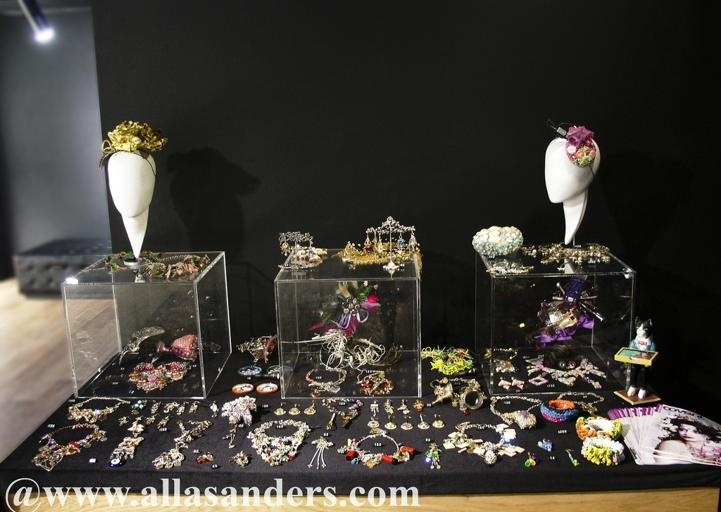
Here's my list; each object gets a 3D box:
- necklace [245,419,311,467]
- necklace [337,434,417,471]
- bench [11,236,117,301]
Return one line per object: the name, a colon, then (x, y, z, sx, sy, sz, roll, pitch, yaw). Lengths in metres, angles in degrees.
necklace: (-0.546, 1.206, 3.967, 0.388, 0.022, 0.444, 0, 25, 10)
necklace: (0.107, 1.258, 3.858, 0.494, 0.165, 0.231, 2, -2, -3)
bench: (-2.521, 0.073, 4.911, 0.582, 0.364, 0.583, -1, 1, -13)
